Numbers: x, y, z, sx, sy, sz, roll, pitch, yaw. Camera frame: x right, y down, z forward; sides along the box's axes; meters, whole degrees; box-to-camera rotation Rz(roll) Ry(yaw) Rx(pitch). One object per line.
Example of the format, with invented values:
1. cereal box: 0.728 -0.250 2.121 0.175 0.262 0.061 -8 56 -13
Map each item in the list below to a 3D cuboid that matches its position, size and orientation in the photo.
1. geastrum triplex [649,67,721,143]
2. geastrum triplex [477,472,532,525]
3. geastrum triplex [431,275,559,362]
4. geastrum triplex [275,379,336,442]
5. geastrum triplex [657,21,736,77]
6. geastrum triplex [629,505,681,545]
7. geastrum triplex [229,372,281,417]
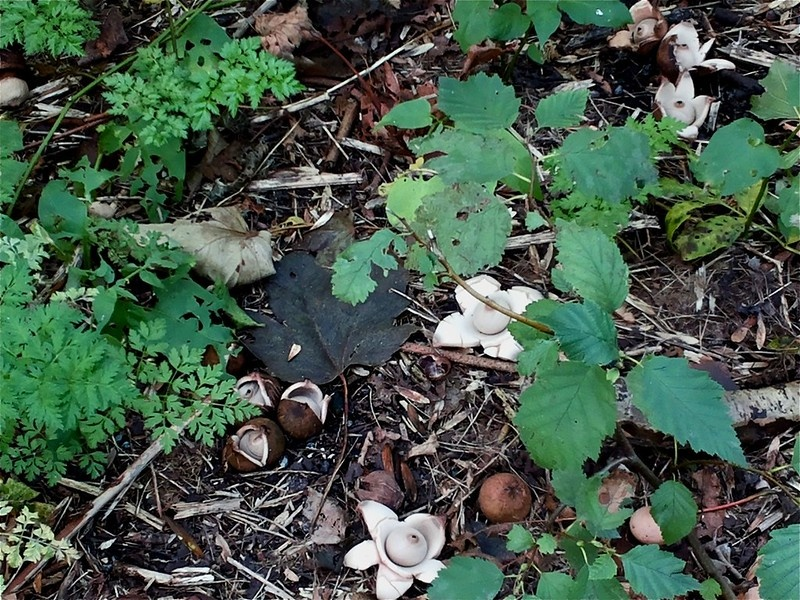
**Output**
1. geastrum triplex: 1.385 -0.959 3.588 0.324 0.168 0.346 14 80 8
2. geastrum triplex: 0.442 0.841 3.177 0.198 0.206 0.207 -15 51 -4
3. geastrum triplex: 0.425 0.073 3.364 0.498 0.185 0.471 -5 50 32
4. geastrum triplex: -0.444 0.502 3.298 0.193 0.181 0.229 11 57 15
5. geastrum triplex: 1.476 -1.260 3.681 0.346 0.171 0.289 -21 55 -8
6. geastrum triplex: 1.019 0.947 3.044 0.097 0.131 0.155 -18 54 -6
7. geastrum triplex: -0.645 0.409 3.306 0.160 0.095 0.197 -24 72 -25
